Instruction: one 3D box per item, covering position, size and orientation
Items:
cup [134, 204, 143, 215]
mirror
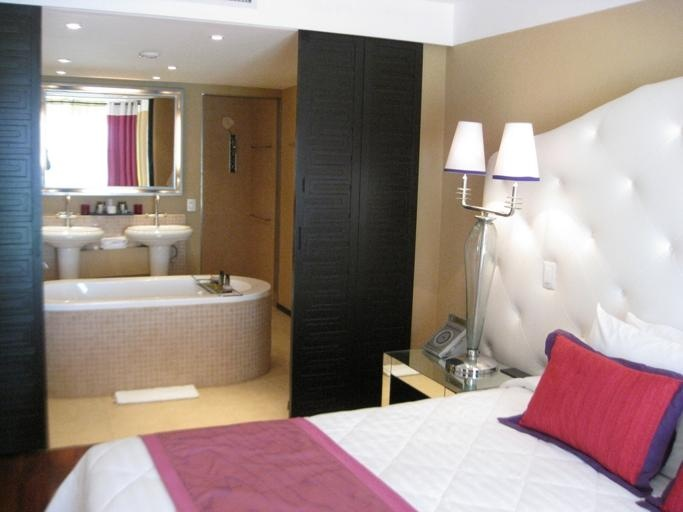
[{"bbox_3d":[-2.325,-0.534,5.763,0.108,0.111,0.061,1,15,-9],"label":"cup"},{"bbox_3d":[-2.541,-1.286,5.670,1.475,1.274,0.094,-1,-5,-13],"label":"mirror"}]
